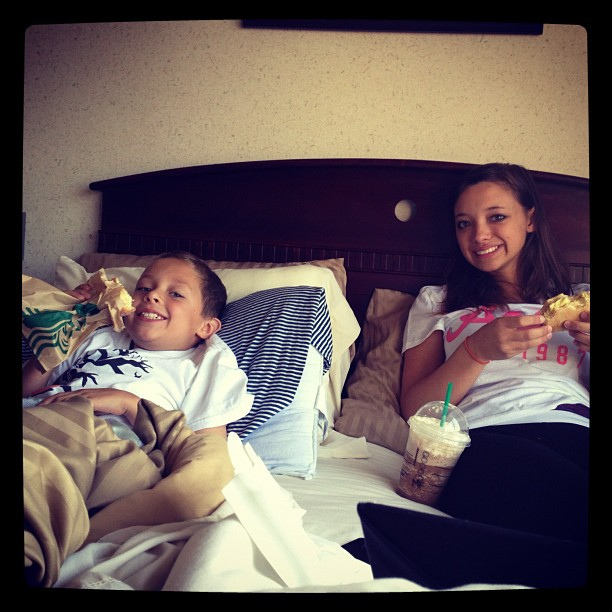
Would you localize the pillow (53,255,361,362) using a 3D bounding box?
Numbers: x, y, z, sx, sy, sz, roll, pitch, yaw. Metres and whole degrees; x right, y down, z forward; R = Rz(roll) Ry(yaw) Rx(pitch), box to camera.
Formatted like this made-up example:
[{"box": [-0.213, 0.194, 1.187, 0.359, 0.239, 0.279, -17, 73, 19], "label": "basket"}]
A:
[{"box": [-0.230, -0.025, 1.344, 0.579, 0.175, 0.313, 0, 3, 1], "label": "pillow"}]

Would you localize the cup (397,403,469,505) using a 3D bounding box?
[{"box": [0.237, 0.276, 1.028, 0.124, 0.178, 0.072, 1, 1, 1], "label": "cup"}]

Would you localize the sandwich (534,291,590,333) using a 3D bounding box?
[{"box": [0.541, 0.014, 1.162, 0.118, 0.065, 0.047, -22, -5, 25], "label": "sandwich"}]

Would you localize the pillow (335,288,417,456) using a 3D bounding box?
[{"box": [0.183, 0.143, 1.340, 0.216, 0.326, 0.083, 10, -11, 23], "label": "pillow"}]

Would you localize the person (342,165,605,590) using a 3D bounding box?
[{"box": [0.316, 0.067, 1.177, 0.531, 0.502, 0.914, 2, 26, 9], "label": "person"}]

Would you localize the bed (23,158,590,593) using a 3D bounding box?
[{"box": [-0.062, 0.147, 1.297, 1.136, 0.597, 1.013, 0, 18, 1], "label": "bed"}]
